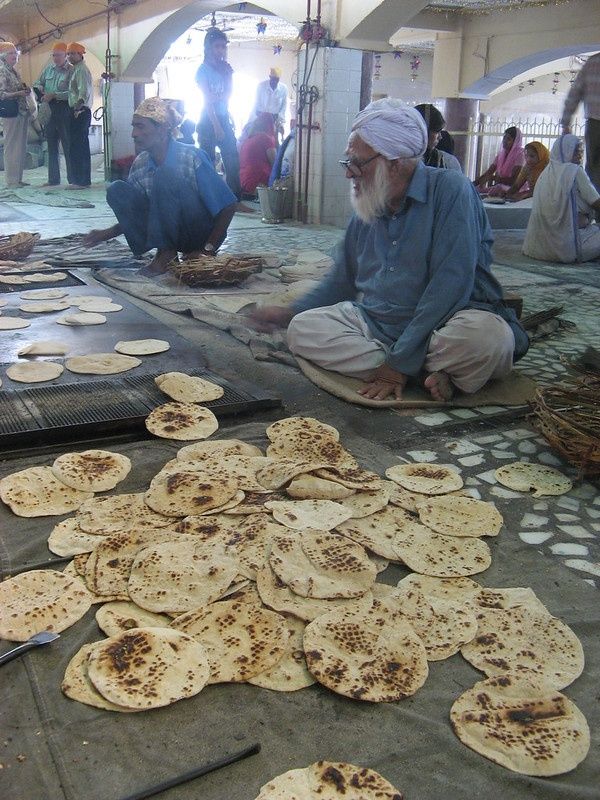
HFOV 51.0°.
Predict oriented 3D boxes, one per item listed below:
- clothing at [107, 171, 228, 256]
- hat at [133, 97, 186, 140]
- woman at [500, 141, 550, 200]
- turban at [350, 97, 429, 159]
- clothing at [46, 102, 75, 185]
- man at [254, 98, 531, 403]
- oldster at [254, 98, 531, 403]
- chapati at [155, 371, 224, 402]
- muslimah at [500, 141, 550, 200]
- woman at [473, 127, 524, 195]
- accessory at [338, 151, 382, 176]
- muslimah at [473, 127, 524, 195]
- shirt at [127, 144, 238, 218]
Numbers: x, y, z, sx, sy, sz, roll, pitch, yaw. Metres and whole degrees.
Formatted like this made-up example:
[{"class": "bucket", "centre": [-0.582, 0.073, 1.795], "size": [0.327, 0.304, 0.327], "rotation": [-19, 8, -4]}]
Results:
[{"class": "clothing", "centre": [-1.121, -1.742, 5.750], "size": [1.152, 0.826, 0.911], "rotation": [11, 13, 41]}, {"class": "hat", "centre": [-1.114, -2.334, 5.237], "size": [0.458, 0.324, 0.306], "rotation": [-5, 29, -29]}, {"class": "woman", "centre": [3.233, -3.187, 8.680], "size": [0.805, 0.660, 0.467], "rotation": [-1, 32, 30]}, {"class": "turban", "centre": [0.367, -1.220, 2.890], "size": [0.310, 0.242, 0.327], "rotation": [-19, 16, -20]}, {"class": "clothing", "centre": [-4.560, -4.898, 12.078], "size": [0.544, 1.514, 0.389], "rotation": [3, 13, 1]}, {"class": "man", "centre": [0.501, -0.739, 3.069], "size": [1.096, 1.197, 1.287], "rotation": [-20, 25, -33]}, {"class": "oldster", "centre": [0.518, -0.755, 3.071], "size": [1.076, 1.237, 1.310], "rotation": [-18, 25, -34]}, {"class": "chapati", "centre": [-0.466, -0.053, 2.824], "size": [0.281, 0.104, 0.259], "rotation": [-5, 13, -33]}, {"class": "muslimah", "centre": [3.252, -3.178, 8.694], "size": [0.811, 0.662, 0.468], "rotation": [-2, 30, 30]}, {"class": "woman", "centre": [3.105, -3.754, 10.013], "size": [0.821, 1.025, 0.893], "rotation": [-22, 34, -36]}, {"class": "accessory", "centre": [0.302, -1.071, 2.878], "size": [0.124, 0.036, 0.117], "rotation": [-31, 40, -26]}, {"class": "muslimah", "centre": [3.188, -3.754, 9.993], "size": [0.728, 0.996, 0.886], "rotation": [-17, 33, -21]}, {"class": "shirt", "centre": [-1.195, -1.874, 5.437], "size": [1.104, 0.708, 0.532], "rotation": [-18, 25, -39]}]
